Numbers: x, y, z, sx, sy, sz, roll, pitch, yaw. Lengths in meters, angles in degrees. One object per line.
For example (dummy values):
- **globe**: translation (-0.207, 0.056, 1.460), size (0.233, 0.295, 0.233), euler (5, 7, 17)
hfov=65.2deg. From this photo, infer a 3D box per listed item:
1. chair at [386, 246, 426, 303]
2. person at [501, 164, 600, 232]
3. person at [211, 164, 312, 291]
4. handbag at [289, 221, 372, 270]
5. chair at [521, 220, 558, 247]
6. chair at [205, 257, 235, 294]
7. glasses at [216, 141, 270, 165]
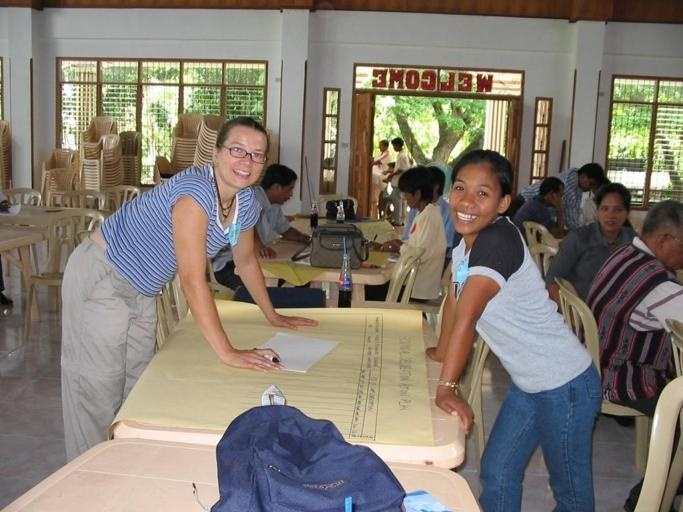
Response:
- **chair**: translation (0.328, 0.097, 3.257), size (0.182, 0.307, 0.167), euler (26, -4, -13)
- **person**: translation (2.677, -0.624, 6.580), size (0.369, 0.811, 1.281), euler (-6, -3, -33)
- **person**: translation (-0.602, -0.219, 4.668), size (0.583, 1.314, 0.944), euler (2, 24, 16)
- **handbag**: translation (-0.025, -0.001, 3.550), size (0.413, 0.329, 0.383), euler (0, -28, 3)
- **chair**: translation (1.720, -0.208, 4.669), size (0.198, 0.300, 0.216), euler (-6, 21, -4)
- **chair**: translation (-0.845, 0.133, 3.710), size (0.187, 0.327, 0.173), euler (2, 13, 9)
- **glasses**: translation (-0.346, -0.357, 1.874), size (0.172, 0.064, 0.094), euler (-1, 12, -15)
